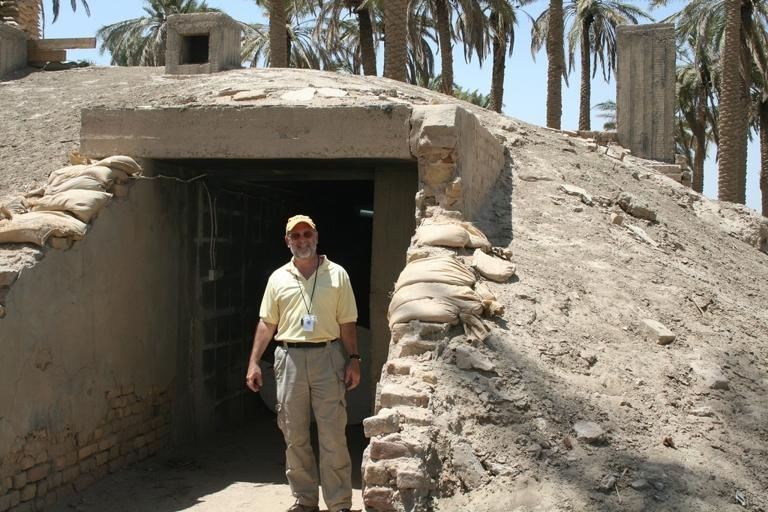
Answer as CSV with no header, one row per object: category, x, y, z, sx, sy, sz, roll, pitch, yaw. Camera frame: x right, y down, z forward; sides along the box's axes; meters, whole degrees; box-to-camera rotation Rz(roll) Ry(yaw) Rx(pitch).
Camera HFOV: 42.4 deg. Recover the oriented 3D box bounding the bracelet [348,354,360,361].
bracelet,-0.340,1.139,10.961,0.098,0.041,0.096,-1,4,7
